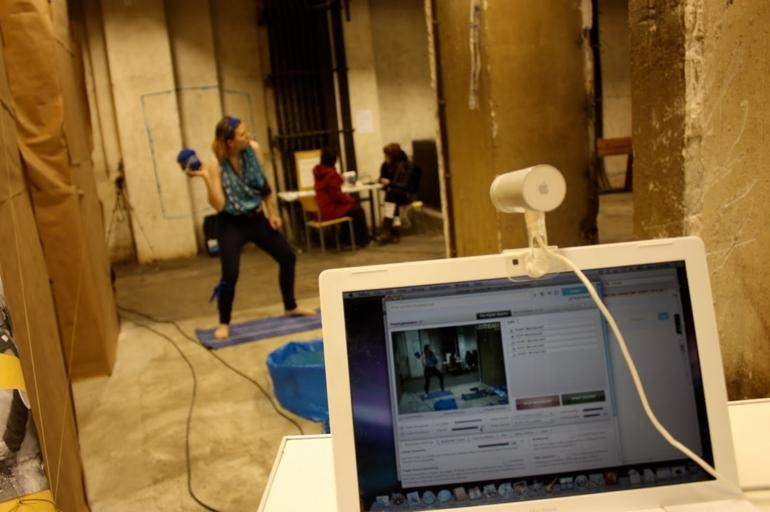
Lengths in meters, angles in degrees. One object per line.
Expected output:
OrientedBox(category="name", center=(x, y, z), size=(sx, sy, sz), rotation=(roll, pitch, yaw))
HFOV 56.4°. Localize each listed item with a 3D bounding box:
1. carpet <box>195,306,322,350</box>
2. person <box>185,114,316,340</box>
OrientedBox(category="carpet", center=(-0.683, 0.381, 3.748), size=(0.632, 0.228, 0.034), rotation=(-11, -8, -13))
OrientedBox(category="person", center=(-0.708, -0.140, 3.685), size=(0.558, 1.113, 0.210), rotation=(-8, 9, -8))
